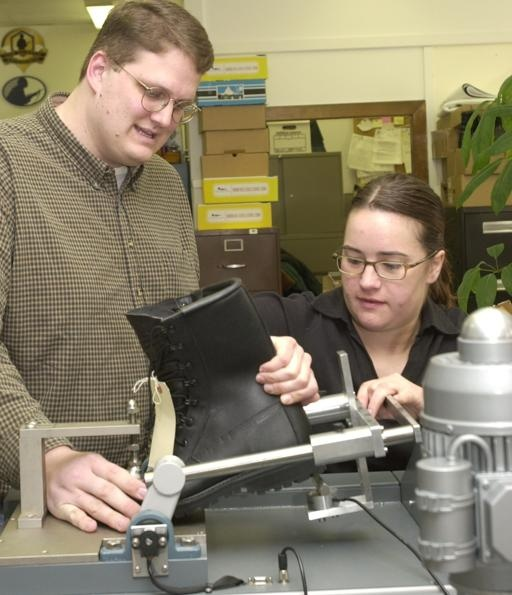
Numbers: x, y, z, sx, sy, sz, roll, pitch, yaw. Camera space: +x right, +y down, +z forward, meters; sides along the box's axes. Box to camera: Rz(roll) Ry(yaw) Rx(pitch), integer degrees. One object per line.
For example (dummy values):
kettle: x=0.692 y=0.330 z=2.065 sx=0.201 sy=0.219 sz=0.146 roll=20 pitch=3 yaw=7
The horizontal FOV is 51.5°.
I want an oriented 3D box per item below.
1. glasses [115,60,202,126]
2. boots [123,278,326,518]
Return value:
glasses: x=-0.173 y=-0.367 z=0.967 sx=0.099 sy=0.028 sz=0.098 roll=36 pitch=12 yaw=24
boots: x=-0.056 y=0.124 z=0.613 sx=0.247 sy=0.217 sz=0.107 roll=-21 pitch=-15 yaw=19
